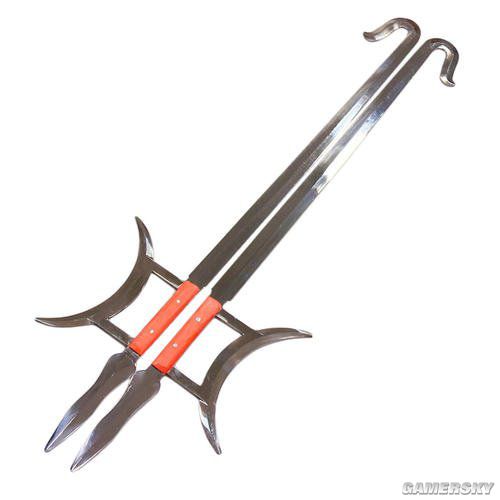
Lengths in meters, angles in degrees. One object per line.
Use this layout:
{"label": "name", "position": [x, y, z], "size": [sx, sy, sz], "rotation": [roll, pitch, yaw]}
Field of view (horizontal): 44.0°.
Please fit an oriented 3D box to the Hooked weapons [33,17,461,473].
{"label": "Hooked weapons", "position": [0.159, -0.121, 2.378], "size": [0.916, 2.595, 0.102], "rotation": [42, -25, 18]}
